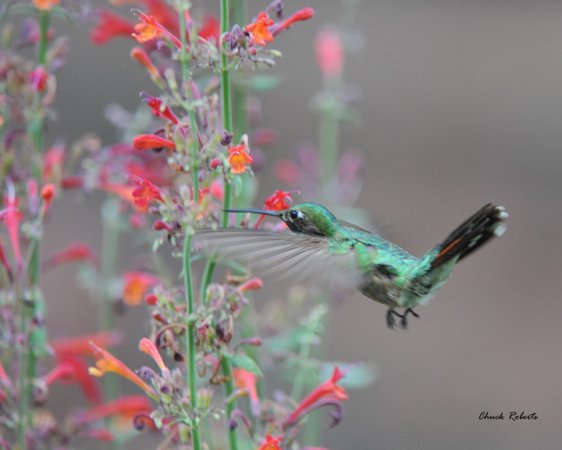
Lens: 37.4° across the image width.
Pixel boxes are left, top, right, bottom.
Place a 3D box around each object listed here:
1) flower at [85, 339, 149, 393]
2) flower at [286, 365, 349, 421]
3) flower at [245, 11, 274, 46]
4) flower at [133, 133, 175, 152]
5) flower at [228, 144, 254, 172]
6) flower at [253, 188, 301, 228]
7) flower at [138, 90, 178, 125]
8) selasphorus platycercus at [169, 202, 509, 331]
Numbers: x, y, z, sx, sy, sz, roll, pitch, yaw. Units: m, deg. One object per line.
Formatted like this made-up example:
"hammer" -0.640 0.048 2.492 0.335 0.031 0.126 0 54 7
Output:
"flower" -0.664 0.551 3.270 0.226 0.185 0.430 4 -6 -24
"flower" 0.146 0.670 3.281 0.235 0.222 0.159 1 -5 6
"flower" -0.071 -0.728 3.104 0.135 0.135 0.071 5 -6 -33
"flower" -0.478 -0.306 3.131 0.190 0.057 0.064 19 -3 -5
"flower" -0.147 -0.248 3.070 0.096 0.097 0.043 -1 3 -15
"flower" -0.015 -0.068 3.687 0.278 0.115 0.080 -31 -37 22
"flower" -0.451 -0.434 3.104 0.099 0.165 0.077 -2 11 3
"selasphorus platycercus" 0.324 0.181 3.717 1.323 0.560 0.895 -3 -3 7
